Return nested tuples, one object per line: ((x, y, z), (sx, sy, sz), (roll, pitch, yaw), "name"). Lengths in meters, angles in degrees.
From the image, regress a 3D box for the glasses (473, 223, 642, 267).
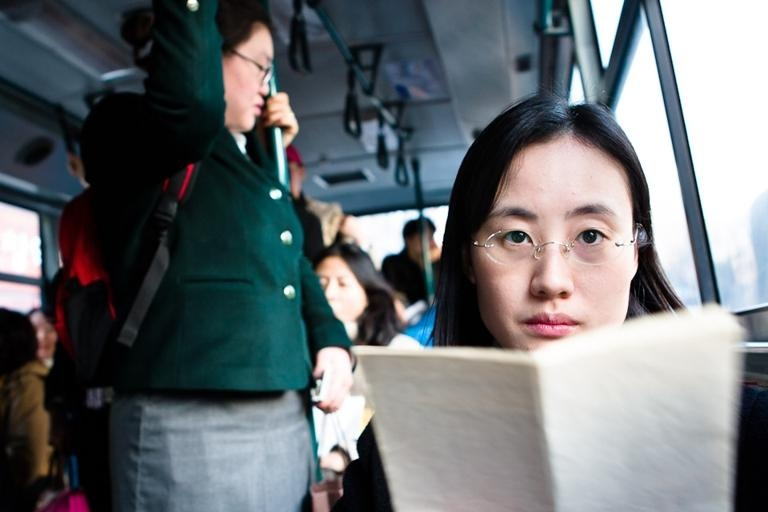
((0.345, -0.017, 1.243), (0.316, 0.090, 0.059), (-5, -13, 11), "glasses")

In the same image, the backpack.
((-0.728, 0.055, 1.438), (0.111, 0.487, 0.219), (9, -17, -42), "backpack")

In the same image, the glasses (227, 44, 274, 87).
((-0.333, -0.483, 1.504), (0.074, 0.021, 0.070), (32, -7, -3), "glasses")
